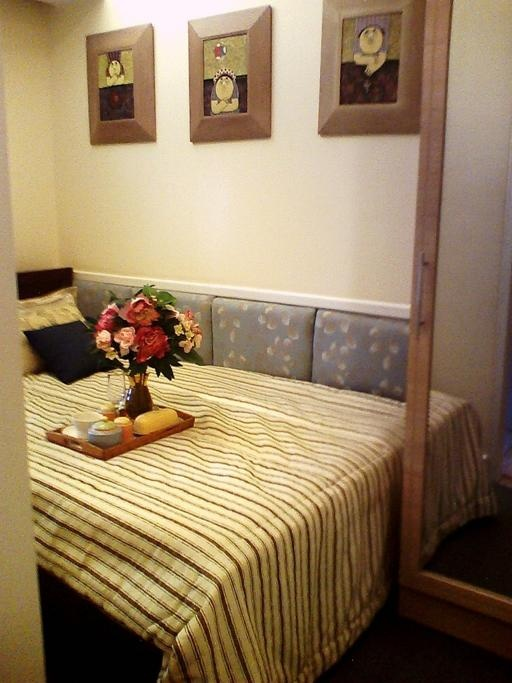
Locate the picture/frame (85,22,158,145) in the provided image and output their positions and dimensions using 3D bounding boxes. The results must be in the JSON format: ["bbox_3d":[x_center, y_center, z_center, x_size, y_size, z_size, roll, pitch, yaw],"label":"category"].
[{"bbox_3d":[-0.750,-1.472,3.008,0.626,0.773,0.053,8,14,30],"label":"picture/frame"}]

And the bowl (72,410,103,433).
[{"bbox_3d":[-0.558,0.260,1.757,0.059,0.049,0.082,2,3,10],"label":"bowl"}]

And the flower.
[{"bbox_3d":[-0.358,-0.040,1.847,0.328,0.310,0.336,17,28,29],"label":"flower"}]

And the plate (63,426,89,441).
[{"bbox_3d":[-0.594,0.302,1.739,0.060,0.024,0.057,7,1,-13],"label":"plate"}]

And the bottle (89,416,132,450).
[{"bbox_3d":[-0.462,0.285,1.668,0.077,0.075,0.108,-1,-1,18],"label":"bottle"}]
